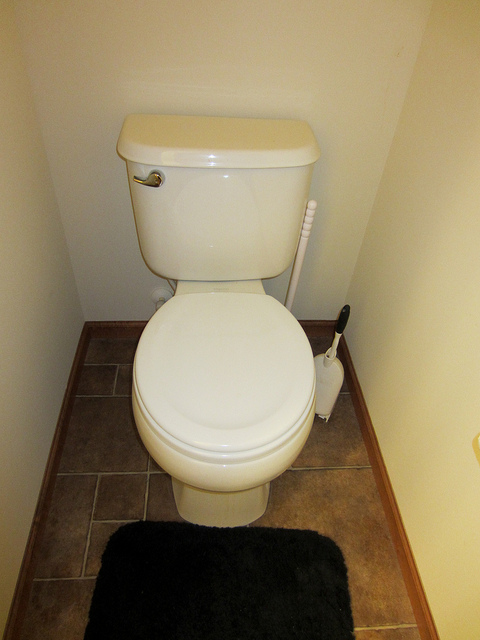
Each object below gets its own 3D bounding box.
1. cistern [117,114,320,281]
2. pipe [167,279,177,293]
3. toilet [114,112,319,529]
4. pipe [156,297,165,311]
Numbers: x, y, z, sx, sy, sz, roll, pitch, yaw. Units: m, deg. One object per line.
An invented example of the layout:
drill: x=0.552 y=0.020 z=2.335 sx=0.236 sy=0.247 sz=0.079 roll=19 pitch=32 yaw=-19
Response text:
cistern: x=-0.044 y=-0.306 z=1.088 sx=0.397 sy=0.347 sz=0.286 roll=-4 pitch=50 yaw=-8
pipe: x=-0.191 y=-0.100 z=1.347 sx=0.024 sy=0.037 sz=0.008 roll=12 pitch=41 yaw=32
toilet: x=-0.044 y=0.042 z=1.025 sx=0.321 sy=0.697 sz=0.615 roll=-2 pitch=38 yaw=-7
pipe: x=-0.240 y=-0.048 z=1.423 sx=0.024 sy=0.043 sz=0.009 roll=0 pitch=12 yaw=10
